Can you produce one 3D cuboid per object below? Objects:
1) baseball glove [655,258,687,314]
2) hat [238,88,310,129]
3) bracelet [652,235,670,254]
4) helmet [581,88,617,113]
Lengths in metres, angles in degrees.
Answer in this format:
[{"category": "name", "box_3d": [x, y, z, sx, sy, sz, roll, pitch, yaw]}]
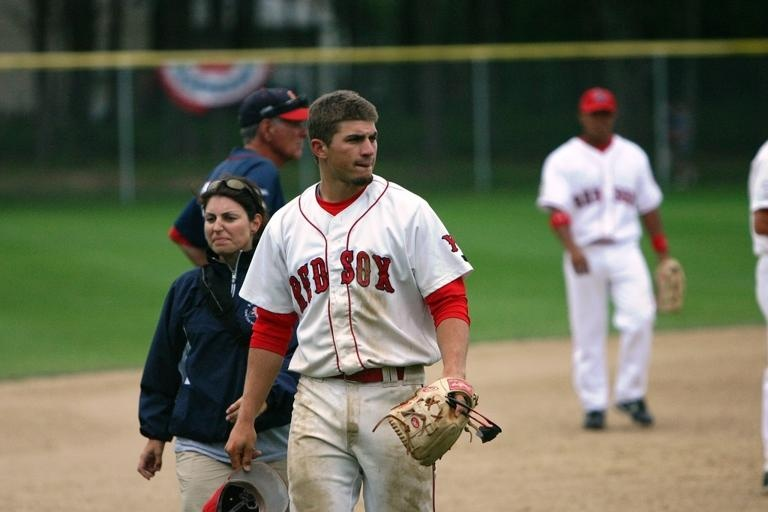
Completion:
[{"category": "baseball glove", "box_3d": [2.842, 0.286, 15.199, 0.299, 0.484, 0.189, 0, 3, 12]}, {"category": "hat", "box_3d": [-1.140, -1.498, 15.673, 0.553, 0.315, 0.426, -16, 7, -2]}, {"category": "bracelet", "box_3d": [2.721, -0.100, 15.117, 0.131, 0.190, 0.187, -16, 2, 3]}, {"category": "helmet", "box_3d": [2.098, -1.497, 15.056, 0.361, 0.243, 0.150, 0, 7, 6]}]
